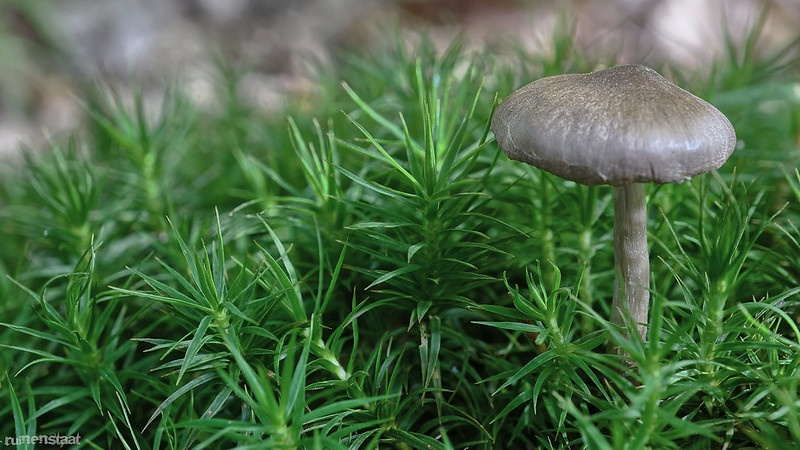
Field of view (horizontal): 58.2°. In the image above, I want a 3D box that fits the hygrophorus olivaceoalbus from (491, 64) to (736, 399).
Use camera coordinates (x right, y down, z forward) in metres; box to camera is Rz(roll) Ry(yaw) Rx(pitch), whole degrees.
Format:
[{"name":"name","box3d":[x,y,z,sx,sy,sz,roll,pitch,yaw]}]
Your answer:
[{"name":"hygrophorus olivaceoalbus","box3d":[0.434,-0.045,1.557,0.385,0.555,0.375,23,45,40]}]
